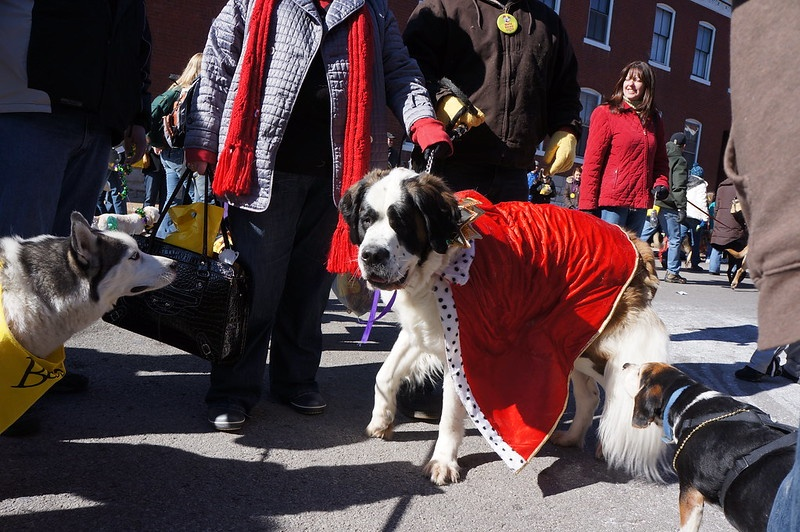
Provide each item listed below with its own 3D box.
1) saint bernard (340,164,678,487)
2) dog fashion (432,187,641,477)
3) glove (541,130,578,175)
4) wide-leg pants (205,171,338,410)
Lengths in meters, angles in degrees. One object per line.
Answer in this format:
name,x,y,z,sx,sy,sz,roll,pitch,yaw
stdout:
saint bernard,0.594,0.275,4.745,2.251,2.356,2.014,0,8,-41
dog fashion,0.859,0.435,4.376,1.325,1.674,0.698,9,8,-1
glove,1.280,-0.908,5.159,0.267,0.389,0.160,22,-7,1
wide-leg pants,-0.906,0.096,4.862,0.771,1.835,0.782,-1,-6,-9
